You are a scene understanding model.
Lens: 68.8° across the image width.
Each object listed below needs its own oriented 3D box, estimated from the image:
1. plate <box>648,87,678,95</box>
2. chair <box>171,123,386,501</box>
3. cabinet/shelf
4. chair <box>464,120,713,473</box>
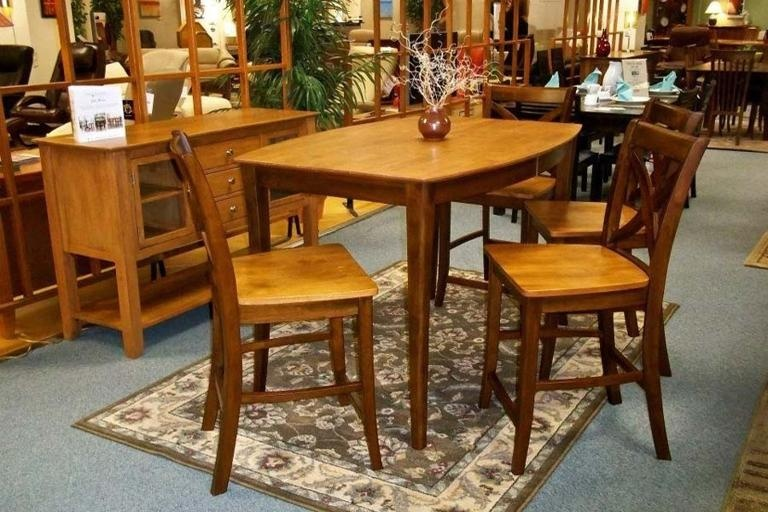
[{"bbox_3d":[2.533,-1.491,5.064,0.241,0.061,0.150,6,19,25],"label":"plate"},{"bbox_3d":[-0.435,0.164,2.300,0.779,1.365,0.701,-5,19,-7],"label":"chair"},{"bbox_3d":[-1.230,-0.286,3.730,0.662,1.053,1.751,10,20,22],"label":"cabinet/shelf"},{"bbox_3d":[0.821,0.160,2.379,0.858,1.273,0.677,-6,17,8],"label":"chair"}]
